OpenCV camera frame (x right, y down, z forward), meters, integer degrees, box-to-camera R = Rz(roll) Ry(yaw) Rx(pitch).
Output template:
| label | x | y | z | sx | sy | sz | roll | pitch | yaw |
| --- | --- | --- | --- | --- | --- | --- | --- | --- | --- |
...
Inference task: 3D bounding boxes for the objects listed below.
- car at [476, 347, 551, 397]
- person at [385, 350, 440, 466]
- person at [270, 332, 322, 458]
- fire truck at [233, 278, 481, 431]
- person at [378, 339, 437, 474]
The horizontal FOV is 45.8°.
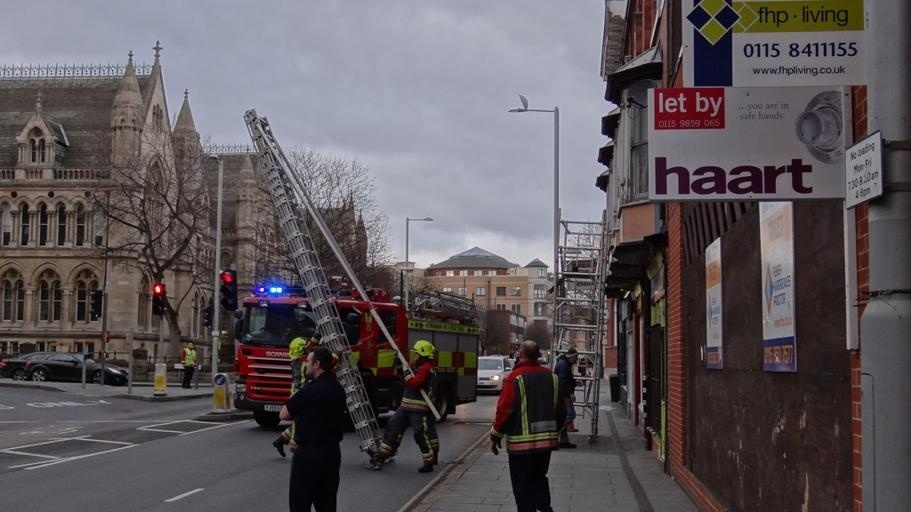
| label | x | y | z | sx | sy | sz | roll | pitch | yaw |
| --- | --- | --- | --- | --- | --- | --- | --- | --- | --- |
| car | 2.054 | 5.367 | 49.086 | 1.800 | 1.655 | 4.891 | -2 | -13 | 8 |
| person | -0.969 | 3.323 | 24.030 | 0.926 | 2.857 | 1.037 | -1 | 0 | -9 |
| person | -3.163 | 3.166 | 23.616 | 1.079 | 2.631 | 1.311 | 6 | 3 | 38 |
| fire truck | -2.416 | 3.030 | 32.609 | 3.490 | 4.432 | 9.669 | 2 | -4 | 26 |
| person | -1.042 | 3.316 | 23.940 | 1.299 | 2.871 | 0.893 | 4 | 1 | 12 |
